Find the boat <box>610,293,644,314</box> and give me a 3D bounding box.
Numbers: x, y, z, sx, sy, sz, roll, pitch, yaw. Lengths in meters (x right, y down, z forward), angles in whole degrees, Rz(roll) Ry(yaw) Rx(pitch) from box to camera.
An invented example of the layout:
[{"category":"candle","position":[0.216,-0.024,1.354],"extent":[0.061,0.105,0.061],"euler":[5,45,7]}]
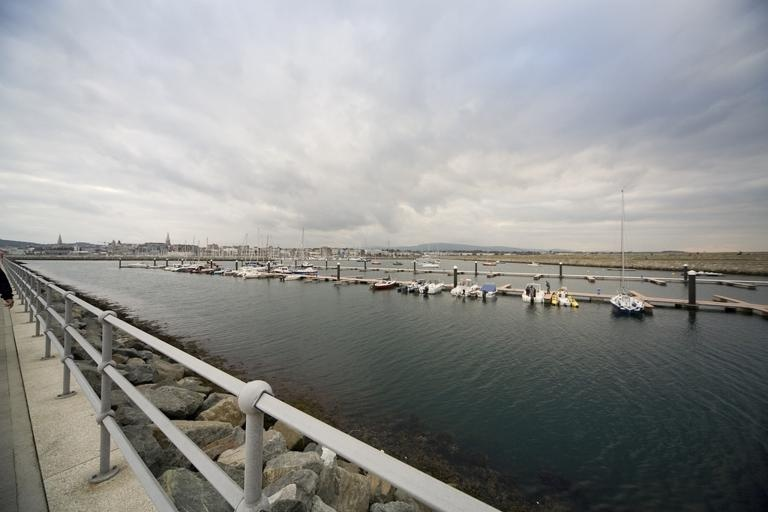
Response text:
[{"category":"boat","position":[18.939,3.808,33.709],"extent":[1.498,1.205,3.019],"euler":[1,5,9]}]
